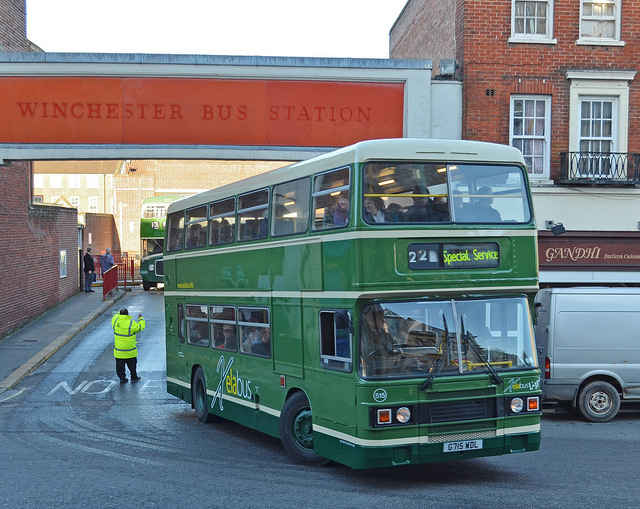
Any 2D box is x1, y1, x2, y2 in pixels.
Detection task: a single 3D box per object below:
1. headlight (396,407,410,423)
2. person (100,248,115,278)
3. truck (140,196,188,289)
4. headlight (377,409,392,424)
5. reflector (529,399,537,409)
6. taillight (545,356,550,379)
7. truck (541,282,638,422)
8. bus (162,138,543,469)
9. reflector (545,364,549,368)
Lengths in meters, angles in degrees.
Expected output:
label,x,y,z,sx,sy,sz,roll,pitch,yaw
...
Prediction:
label,x,y,z,sx,sy,sz,roll,pitch,yaw
headlight,1.190,2.286,11.634,0.220,0.208,0.202,8,5,-12
person,-9.905,0.243,37.239,0.616,0.806,2.056,-11,6,-15
truck,-5.478,-0.425,27.534,1.752,3.688,4.394,-3,5,-9
headlight,0.908,2.297,11.468,0.230,0.202,0.121,0,-2,-9
reflector,3.219,2.243,12.137,0.161,0.148,0.022,-12,7,-29
taillight,4.589,2.277,16.204,0.105,0.433,0.123,-5,8,34
truck,5.609,1.839,17.413,2.938,2.404,1.740,-2,1,-3
bus,-0.234,1.004,16.409,3.457,5.142,10.538,0,-2,-27
reflector,4.578,2.237,16.202,0.059,0.102,0.057,-4,6,0
